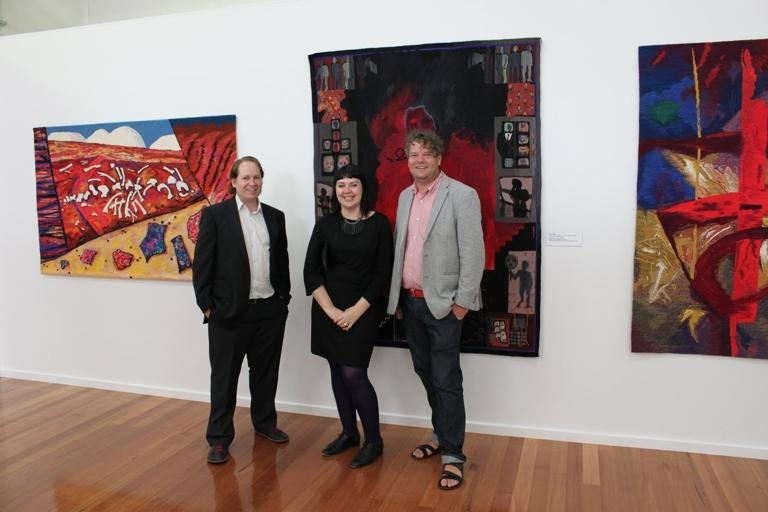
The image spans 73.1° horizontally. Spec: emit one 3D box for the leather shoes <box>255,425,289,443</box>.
[{"bbox_3d":[-0.948,1.490,4.406,0.300,0.124,0.114,2,7,28],"label":"leather shoes"}]

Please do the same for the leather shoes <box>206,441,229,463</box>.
[{"bbox_3d":[-1.281,1.563,4.103,0.189,0.140,0.123,-4,7,-43],"label":"leather shoes"}]

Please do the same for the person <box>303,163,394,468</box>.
[{"bbox_3d":[-0.288,0.457,4.097,0.647,2.314,0.360,3,6,24],"label":"person"}]

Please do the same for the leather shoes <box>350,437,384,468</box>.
[{"bbox_3d":[-0.118,1.542,4.060,0.113,0.127,0.293,0,5,41],"label":"leather shoes"}]

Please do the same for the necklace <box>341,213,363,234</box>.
[{"bbox_3d":[-0.250,-0.253,4.026,0.125,0.126,0.051,1,-26,5],"label":"necklace"}]

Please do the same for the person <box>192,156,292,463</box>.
[{"bbox_3d":[-1.116,0.417,4.164,0.745,2.411,0.294,-2,6,-22],"label":"person"}]

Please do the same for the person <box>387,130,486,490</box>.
[{"bbox_3d":[0.369,0.372,3.906,0.713,2.631,0.457,2,5,15],"label":"person"}]

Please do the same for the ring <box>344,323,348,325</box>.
[{"bbox_3d":[-0.290,0.520,3.958,0.021,0.020,0.006,0,1,-5],"label":"ring"}]

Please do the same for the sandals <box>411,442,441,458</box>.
[{"bbox_3d":[0.334,1.552,4.138,0.212,0.052,0.092,2,12,-23],"label":"sandals"}]
